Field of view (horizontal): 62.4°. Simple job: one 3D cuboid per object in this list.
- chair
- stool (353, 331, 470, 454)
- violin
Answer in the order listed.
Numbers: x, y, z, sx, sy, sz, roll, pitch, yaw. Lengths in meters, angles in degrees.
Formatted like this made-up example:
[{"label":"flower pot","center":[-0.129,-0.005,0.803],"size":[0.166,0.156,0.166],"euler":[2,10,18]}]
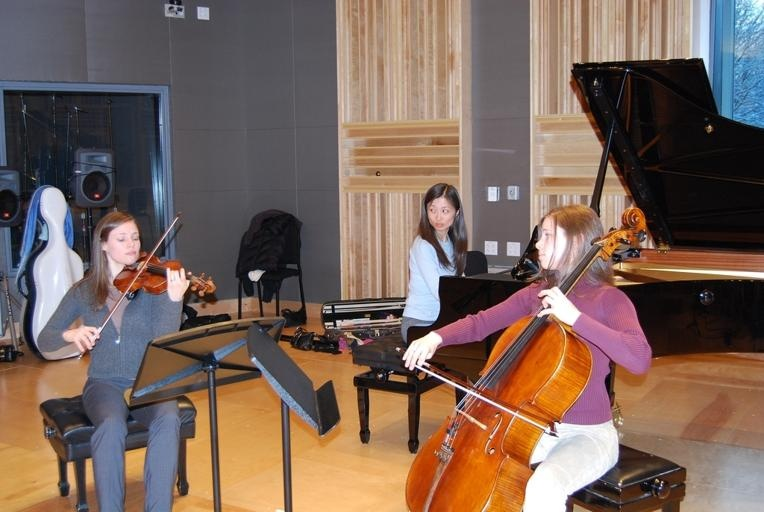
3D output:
[{"label":"chair","center":[-1.345,0.125,7.667],"size":[0.836,1.368,0.737],"euler":[-2,8,-12]},{"label":"stool","center":[0.102,0.902,4.893],"size":[0.811,1.014,0.866],"euler":[1,0,35]},{"label":"violin","center":[-1.451,0.178,4.026],"size":[0.484,0.088,0.263],"euler":[14,30,7]}]
